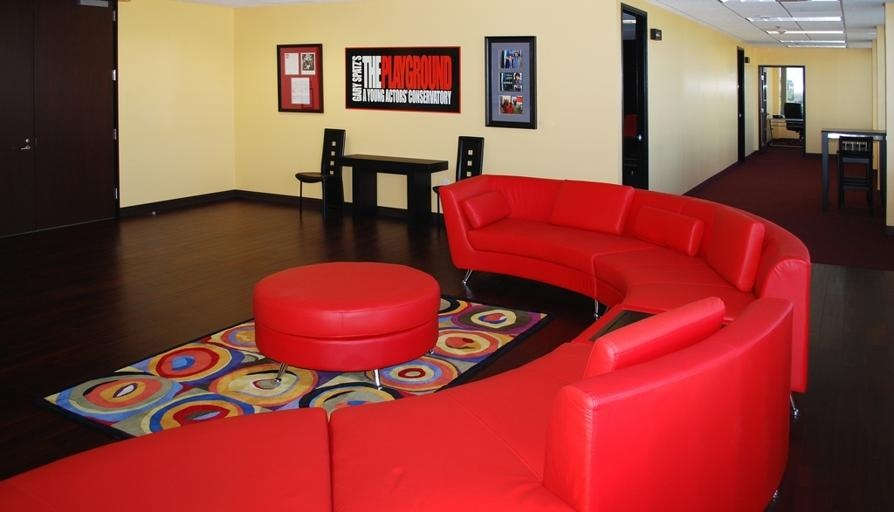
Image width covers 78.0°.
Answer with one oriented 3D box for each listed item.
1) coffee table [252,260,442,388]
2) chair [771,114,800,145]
[{"bbox_3d":[-0.808,0.512,4.832,1.167,0.424,1.100,-9,18,-35],"label":"coffee table"},{"bbox_3d":[12.674,-4.718,20.490,1.065,0.705,0.584,15,40,36],"label":"chair"}]
